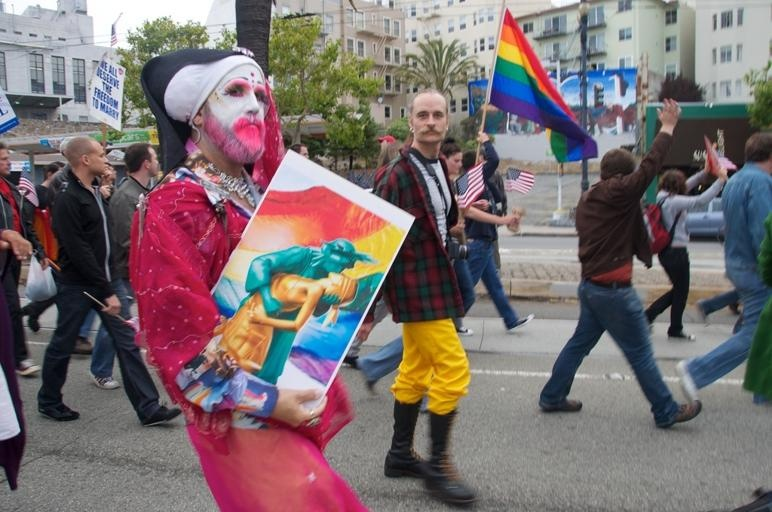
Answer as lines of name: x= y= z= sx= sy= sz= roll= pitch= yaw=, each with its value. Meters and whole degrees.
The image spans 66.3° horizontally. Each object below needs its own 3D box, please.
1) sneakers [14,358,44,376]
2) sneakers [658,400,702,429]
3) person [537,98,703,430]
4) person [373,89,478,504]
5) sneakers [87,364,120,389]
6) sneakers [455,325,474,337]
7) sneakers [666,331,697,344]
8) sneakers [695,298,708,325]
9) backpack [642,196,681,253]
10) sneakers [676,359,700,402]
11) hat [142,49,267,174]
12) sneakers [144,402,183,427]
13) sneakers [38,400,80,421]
sneakers: x=-3.992 y=1.239 z=6.569 sx=0.298 sy=0.139 sz=0.116 roll=1 pitch=5 yaw=16
sneakers: x=2.562 y=1.374 z=5.119 sx=0.485 sy=0.211 sz=0.142 roll=-4 pitch=10 yaw=-18
person: x=2.228 y=0.085 z=5.444 sx=1.326 sy=2.794 sz=1.118 roll=2 pitch=5 yaw=39
person: x=0.270 y=0.255 z=4.274 sx=0.674 sy=2.865 sz=0.834 roll=-1 pitch=9 yaw=-2
sneakers: x=-3.044 y=1.287 z=6.280 sx=0.443 sy=0.211 sz=0.167 roll=5 pitch=5 yaw=7
sneakers: x=1.037 y=1.001 z=7.813 sx=0.269 sy=0.126 sz=0.130 roll=0 pitch=6 yaw=-2
sneakers: x=3.783 y=1.050 z=7.552 sx=0.254 sy=0.112 sz=0.147 roll=-1 pitch=5 yaw=11
sneakers: x=4.220 y=0.765 z=7.892 sx=0.084 sy=0.334 sz=0.237 roll=-14 pitch=13 yaw=20
backpack: x=3.619 y=-0.393 z=7.739 sx=0.615 sy=0.649 sz=0.462 roll=-11 pitch=7 yaw=19
sneakers: x=2.606 y=1.097 z=5.175 sx=0.128 sy=0.386 sz=0.149 roll=-17 pitch=-18 yaw=-4
hat: x=-0.875 y=-0.710 z=2.956 sx=0.630 sy=0.666 sz=0.537 roll=9 pitch=15 yaw=20
sneakers: x=-2.019 y=1.433 z=5.395 sx=0.383 sy=0.200 sz=0.144 roll=-12 pitch=15 yaw=-29
sneakers: x=-3.024 y=1.445 z=5.424 sx=0.298 sy=0.130 sz=0.171 roll=10 pitch=19 yaw=-12
